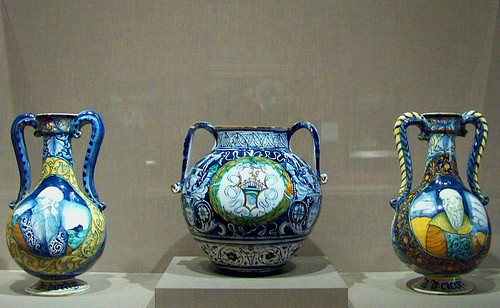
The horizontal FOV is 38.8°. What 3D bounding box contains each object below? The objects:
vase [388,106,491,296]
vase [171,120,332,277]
[{"bbox_3d":[1.024,0.222,3.771,0.506,0.711,0.485,-3,-2,16],"label":"vase"},{"bbox_3d":[0.012,0.233,3.830,0.881,0.754,0.750,0,0,7],"label":"vase"}]
